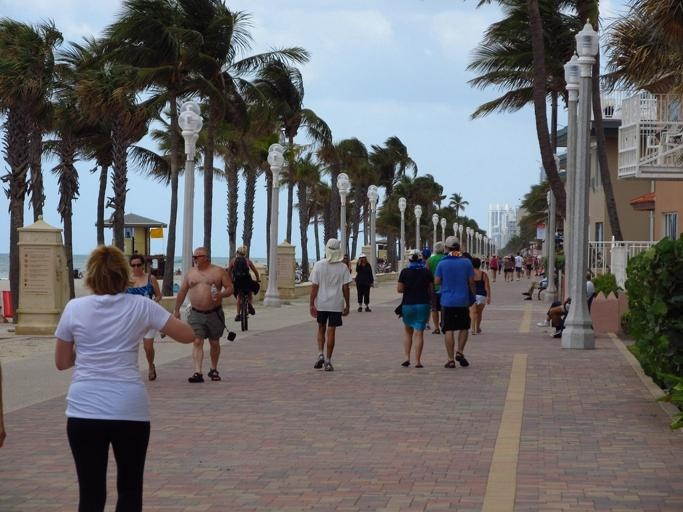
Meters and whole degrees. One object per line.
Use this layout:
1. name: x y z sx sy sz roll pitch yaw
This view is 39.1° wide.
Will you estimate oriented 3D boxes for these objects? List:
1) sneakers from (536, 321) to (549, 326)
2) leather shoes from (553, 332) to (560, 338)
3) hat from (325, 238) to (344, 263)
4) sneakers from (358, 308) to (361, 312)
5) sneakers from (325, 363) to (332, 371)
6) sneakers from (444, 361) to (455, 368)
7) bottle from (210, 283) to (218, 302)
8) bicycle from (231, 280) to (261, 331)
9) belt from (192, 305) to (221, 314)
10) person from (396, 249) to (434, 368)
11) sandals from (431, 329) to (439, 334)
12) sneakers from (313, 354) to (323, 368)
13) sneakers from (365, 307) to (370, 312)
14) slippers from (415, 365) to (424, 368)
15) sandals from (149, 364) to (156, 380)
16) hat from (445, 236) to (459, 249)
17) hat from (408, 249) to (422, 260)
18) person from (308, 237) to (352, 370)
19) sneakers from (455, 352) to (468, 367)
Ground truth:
1. sneakers: 5.102 1.725 24.128 0.347 0.162 0.128 2 4 -4
2. leather shoes: 4.792 1.754 21.223 0.164 0.140 0.181 0 3 -1
3. hat: -0.146 -0.085 16.485 0.363 0.443 0.439 2 12 -1
4. sneakers: 0.529 1.615 28.720 0.069 0.120 0.120 2 -4 -1
5. sneakers: -0.225 1.905 16.320 0.124 0.134 0.091 6 -13 -4
6. sneakers: 1.901 1.872 16.687 0.190 0.133 0.269 0 4 4
7. bottle: -2.032 0.585 15.112 0.116 0.264 0.038 -1 3 -17
8. bicycle: -2.254 1.054 22.199 0.578 0.795 1.244 1 5 5
9. belt: -2.168 0.852 15.244 0.477 0.114 0.243 -1 4 -9
10. person: 1.283 0.935 16.816 0.650 2.017 0.635 0 3 4
11. sandals: 2.167 1.752 22.097 0.153 0.101 0.093 7 5 30
12. sneakers: -0.390 1.812 16.491 0.180 0.270 0.294 -1 3 -7
13. sneakers: 0.778 1.627 28.817 0.192 0.148 0.074 -3 7 5
14. slippers: 1.357 1.929 16.699 0.147 0.067 0.048 6 -6 -36
15. sandals: -3.071 1.899 15.429 0.109 0.298 0.100 -5 6 -4
16. hat: 2.036 -0.243 17.547 0.208 0.144 0.283 -1 2 -1
17. hat: 1.291 -0.009 16.754 0.154 0.182 0.200 1 -16 1
18. person: -0.211 0.828 16.616 0.681 2.247 0.873 0 3 -2
19. sneakers: 2.126 1.805 16.839 0.239 0.243 0.318 0 3 8
